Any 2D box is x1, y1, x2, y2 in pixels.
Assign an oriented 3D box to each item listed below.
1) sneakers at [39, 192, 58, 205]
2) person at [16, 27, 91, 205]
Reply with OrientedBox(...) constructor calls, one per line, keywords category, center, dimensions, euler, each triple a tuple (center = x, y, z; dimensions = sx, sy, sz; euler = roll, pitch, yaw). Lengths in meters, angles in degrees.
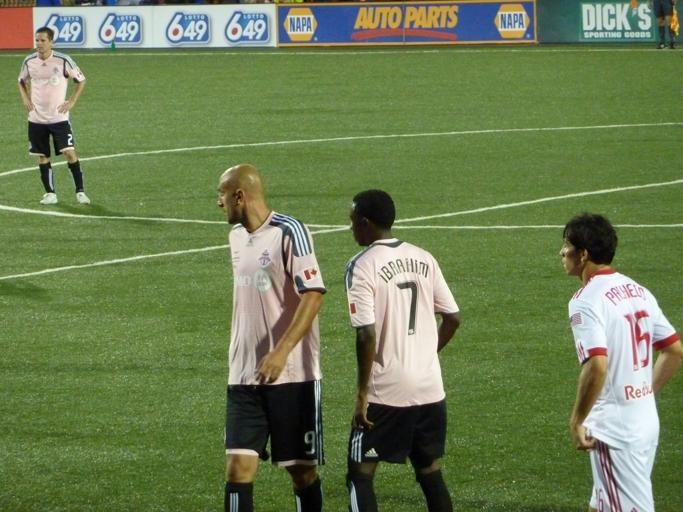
OrientedBox(category="sneakers", center=(-4.697, -0.901, 20.928), dimensions=(0.299, 0.202, 0.154), euler=(3, 2, 3))
OrientedBox(category="person", center=(-4.647, -2.229, 20.922), dimensions=(1.039, 2.819, 0.885), euler=(-2, 5, -6))
